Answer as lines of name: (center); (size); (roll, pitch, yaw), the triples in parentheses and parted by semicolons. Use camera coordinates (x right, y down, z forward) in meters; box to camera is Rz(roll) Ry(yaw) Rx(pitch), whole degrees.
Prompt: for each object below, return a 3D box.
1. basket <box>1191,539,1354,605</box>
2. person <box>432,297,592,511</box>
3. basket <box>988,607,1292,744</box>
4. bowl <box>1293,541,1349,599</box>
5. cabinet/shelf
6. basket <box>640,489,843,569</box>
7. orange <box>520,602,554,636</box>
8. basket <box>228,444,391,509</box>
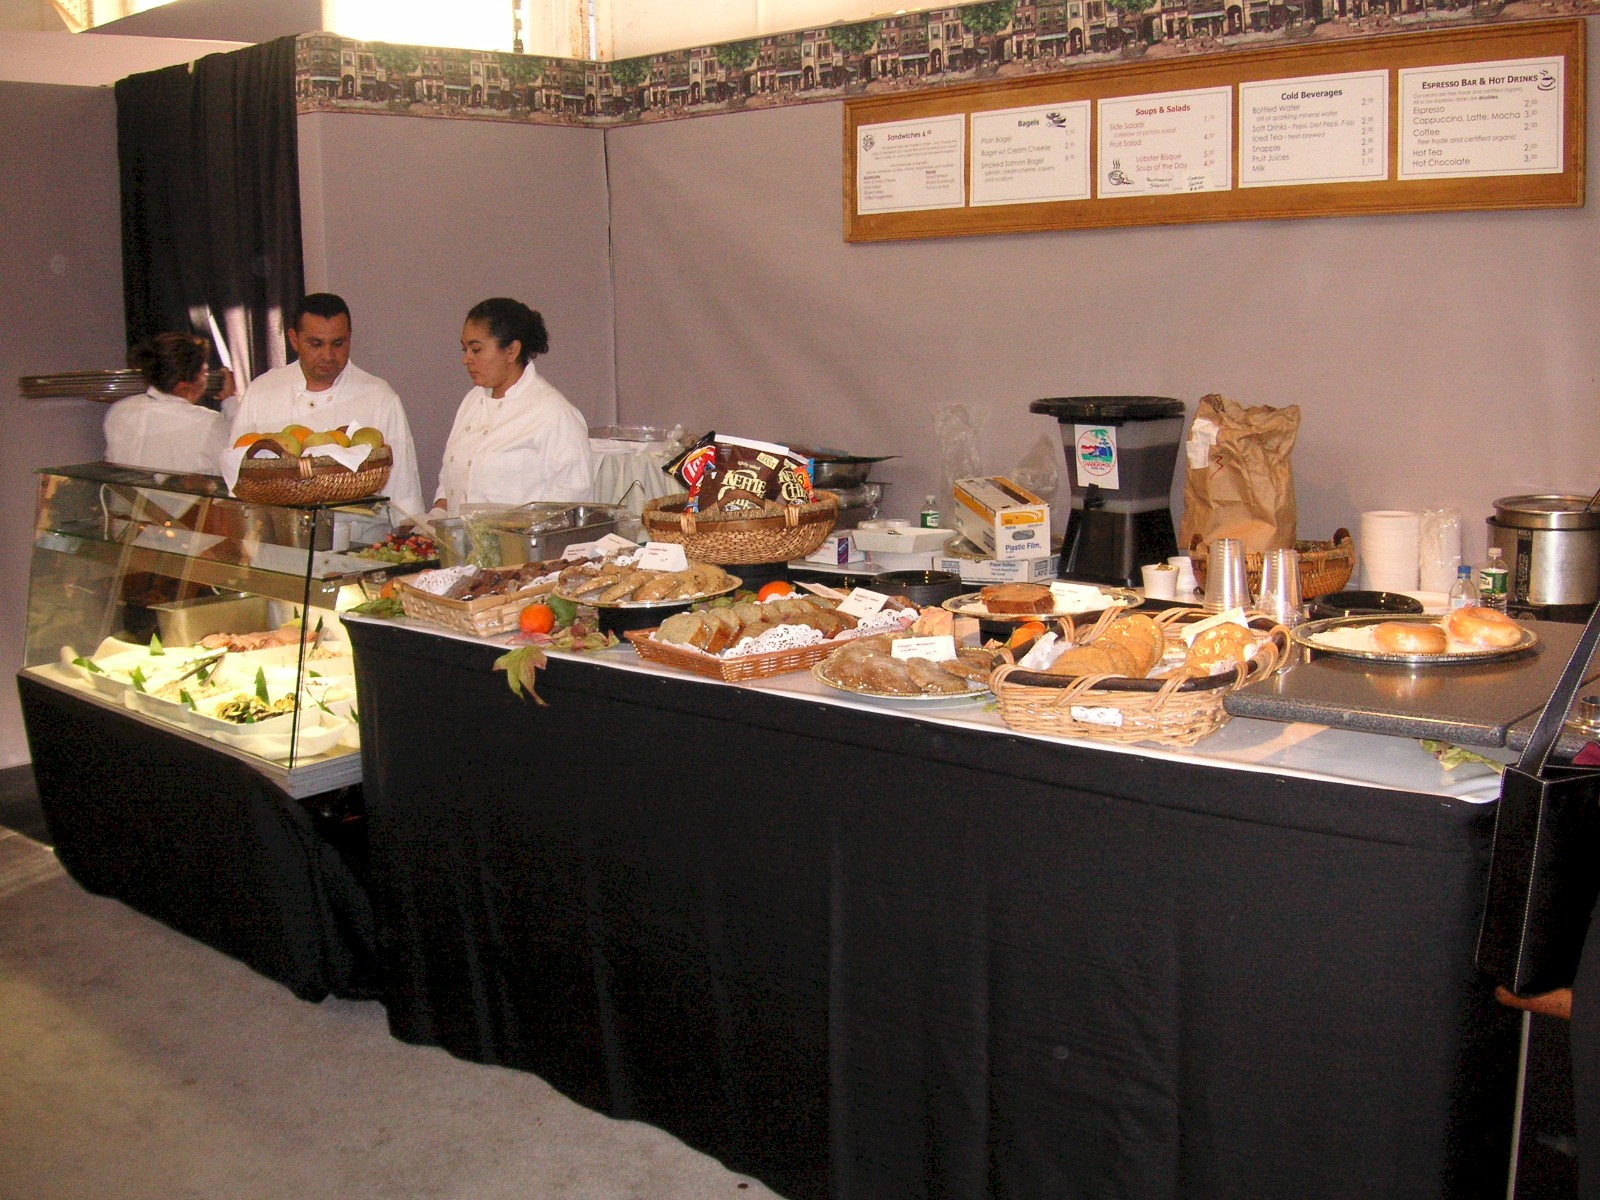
basket: (1.421, -0.094, 3.571); (0.331, 0.135, 0.382); (0, 0, 24)
person: (-1.075, -0.738, 4.658); (0.580, 0.725, 0.273); (1, 13, 6)
basket: (0.626, 0.115, 2.203); (0.302, 0.079, 0.375); (5, 16, 34)
bowl: (1.509, -0.093, 3.602); (0.211, 0.103, 0.269); (5, 12, 28)
cabinet/shelf: (-1.764, 0.380, 3.680); (1.570, 1.196, 0.616); (13, 17, 38)
basket: (-0.148, -0.179, 3.277); (0.492, 0.161, 0.245); (-2, 12, -7)
orange: (-0.599, 0.044, 2.883); (0.078, 0.066, 0.072); (6, 15, 13)
basket: (-1.351, -0.341, 3.483); (0.415, 0.132, 0.292); (-5, 13, -20)
